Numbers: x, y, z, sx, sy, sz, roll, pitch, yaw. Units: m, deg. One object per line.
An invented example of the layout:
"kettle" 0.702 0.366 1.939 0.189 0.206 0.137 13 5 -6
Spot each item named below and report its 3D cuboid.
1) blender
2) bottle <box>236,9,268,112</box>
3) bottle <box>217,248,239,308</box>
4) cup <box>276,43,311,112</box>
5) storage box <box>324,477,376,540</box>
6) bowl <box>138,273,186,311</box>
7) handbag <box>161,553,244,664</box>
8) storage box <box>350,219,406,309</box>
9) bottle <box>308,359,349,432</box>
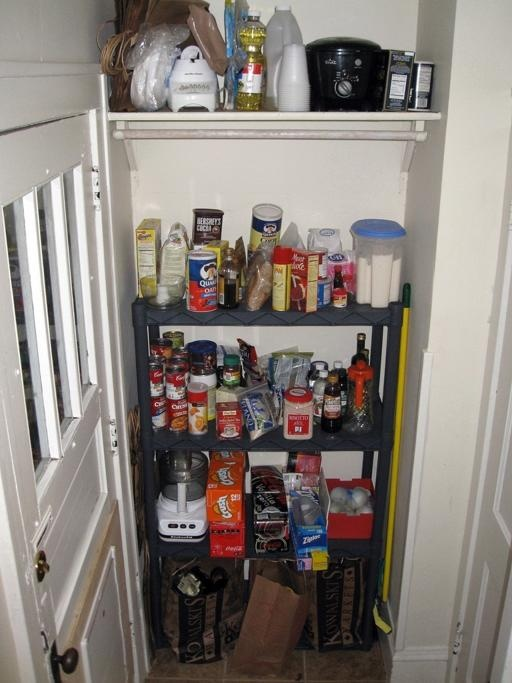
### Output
"blender" -0.243 0.505 1.914 0.185 0.290 0.289 2 30 -5
"bottle" -0.015 -0.742 1.499 0.081 0.237 0.137 -2 18 -2
"bottle" -0.082 -0.189 1.664 0.064 0.167 0.107 -1 18 1
"cup" 0.096 -0.710 1.510 0.096 0.167 0.103 -1 18 0
"storage box" 0.328 0.581 1.934 0.160 0.108 0.165 1 20 -1
"bowl" -0.276 -0.149 1.658 0.108 0.067 0.103 4 18 -1
"handbag" -0.188 0.996 2.053 0.235 0.354 0.198 -1 8 0
"storage box" 0.365 -0.224 1.683 0.152 0.228 0.099 2 18 9
"bottle" 0.233 0.182 1.777 0.083 0.224 0.160 -5 16 -14
